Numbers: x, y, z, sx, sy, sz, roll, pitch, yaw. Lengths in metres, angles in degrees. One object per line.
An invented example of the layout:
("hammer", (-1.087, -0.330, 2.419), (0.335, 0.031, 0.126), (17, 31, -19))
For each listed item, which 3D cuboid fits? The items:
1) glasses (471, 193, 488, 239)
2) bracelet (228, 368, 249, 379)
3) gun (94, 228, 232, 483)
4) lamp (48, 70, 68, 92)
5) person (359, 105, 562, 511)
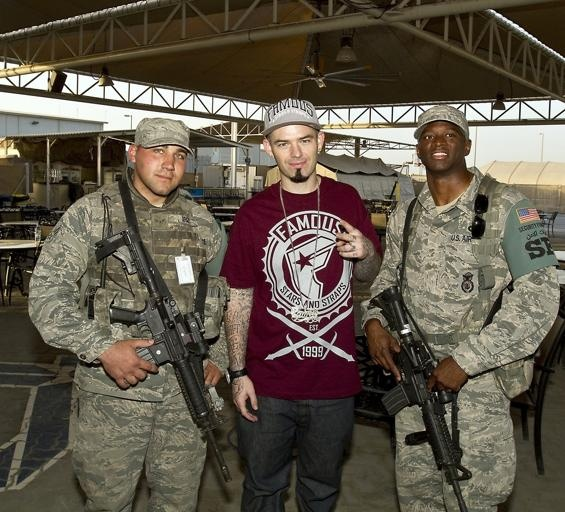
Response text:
("glasses", (0.865, -0.173, 2.228), (0.064, 0.195, 0.085), (0, -21, 38))
("bracelet", (-0.202, 0.533, 2.283), (0.072, 0.036, 0.051), (-2, 1, 5))
("gun", (-0.431, 0.359, 2.104), (0.704, 0.923, 0.314), (8, 12, 35))
("lamp", (-6.916, -5.371, 15.561), (0.490, 0.672, 0.458), (-4, 11, -28))
("person", (0.795, 0.192, 2.303), (0.567, 1.742, 0.683), (-1, 10, -13))
